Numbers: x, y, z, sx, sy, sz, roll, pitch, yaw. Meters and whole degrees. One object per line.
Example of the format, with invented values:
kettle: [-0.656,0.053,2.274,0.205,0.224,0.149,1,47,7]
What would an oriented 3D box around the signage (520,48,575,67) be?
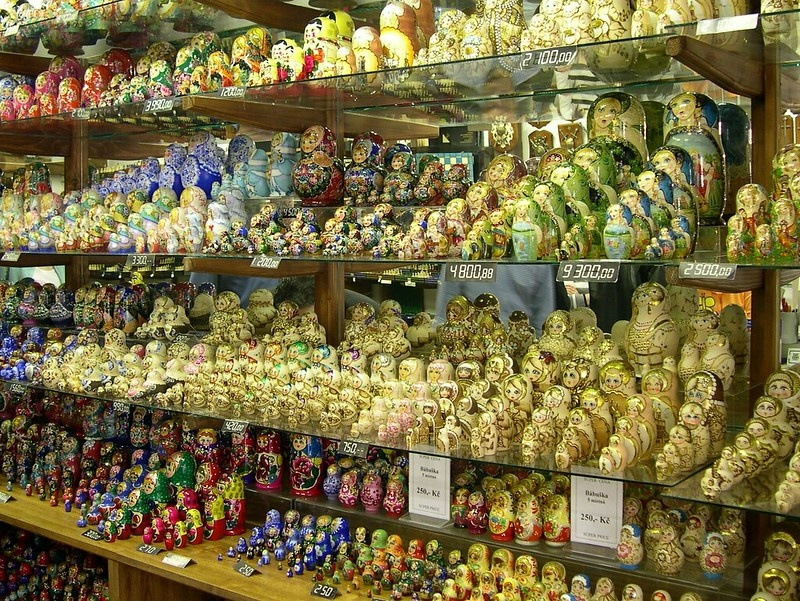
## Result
signage: [0.421,-0.693,2.042,0.130,0.060,0.153,-9,23,-6]
